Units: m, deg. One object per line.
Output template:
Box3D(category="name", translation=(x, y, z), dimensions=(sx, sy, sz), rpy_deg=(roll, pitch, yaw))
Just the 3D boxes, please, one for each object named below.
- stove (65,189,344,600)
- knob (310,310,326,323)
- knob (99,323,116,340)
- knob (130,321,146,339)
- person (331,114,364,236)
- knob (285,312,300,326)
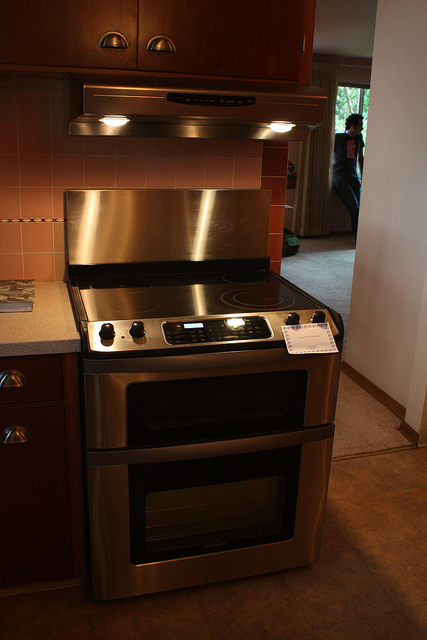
Box3D(category="stove", translation=(-0.049, 0.195, 1.529), dimensions=(0.732, 1.187, 0.617), rpy_deg=(-2, 12, -19))
Box3D(category="knob", translation=(0.278, -0.007, 1.322), dimensions=(0.035, 0.027, 0.025), rpy_deg=(-16, 31, -19))
Box3D(category="knob", translation=(-0.240, 0.026, 1.119), dimensions=(0.032, 0.021, 0.034), rpy_deg=(4, 36, -14))
Box3D(category="knob", translation=(-0.179, 0.024, 1.158), dimensions=(0.029, 0.039, 0.029), rpy_deg=(9, 13, 28))
Box3D(category="person", translation=(2.049, -2.271, 7.662), dimensions=(0.448, 1.638, 0.297), rpy_deg=(5, 12, 11))
Box3D(category="knob", translation=(0.206, -0.005, 1.284), dimensions=(0.025, 0.020, 0.034), rpy_deg=(4, 22, 0))
